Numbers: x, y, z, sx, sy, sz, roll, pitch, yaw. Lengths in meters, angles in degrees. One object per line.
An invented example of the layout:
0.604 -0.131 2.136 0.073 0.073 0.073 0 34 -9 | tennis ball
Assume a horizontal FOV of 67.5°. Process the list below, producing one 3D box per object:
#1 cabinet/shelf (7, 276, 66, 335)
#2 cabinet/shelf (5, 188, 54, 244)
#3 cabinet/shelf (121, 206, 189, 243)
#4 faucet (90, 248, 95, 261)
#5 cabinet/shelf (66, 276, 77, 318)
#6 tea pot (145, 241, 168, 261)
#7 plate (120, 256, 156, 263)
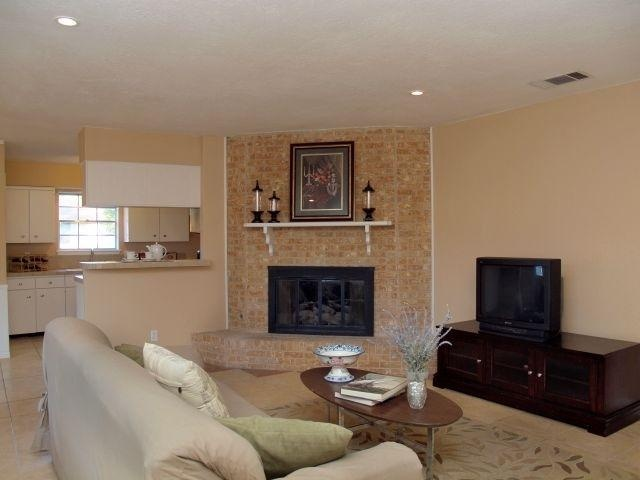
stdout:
-4.317 0.986 7.189 1.056 0.911 0.388 0 -2 -32 | cabinet/shelf
-4.784 -0.391 7.819 1.032 0.892 0.350 1 -1 -29 | cabinet/shelf
-2.843 -0.046 8.349 1.113 0.672 0.604 1 2 -15 | cabinet/shelf
-3.999 0.266 8.402 0.073 0.231 0.135 -1 0 -24 | faucet
-4.069 0.912 7.803 0.151 0.679 0.212 -1 0 -33 | cabinet/shelf
-2.287 0.182 6.634 0.233 0.240 0.457 -1 -1 -20 | tea pot
-2.422 0.275 6.491 0.437 0.065 0.953 0 -1 -19 | plate
